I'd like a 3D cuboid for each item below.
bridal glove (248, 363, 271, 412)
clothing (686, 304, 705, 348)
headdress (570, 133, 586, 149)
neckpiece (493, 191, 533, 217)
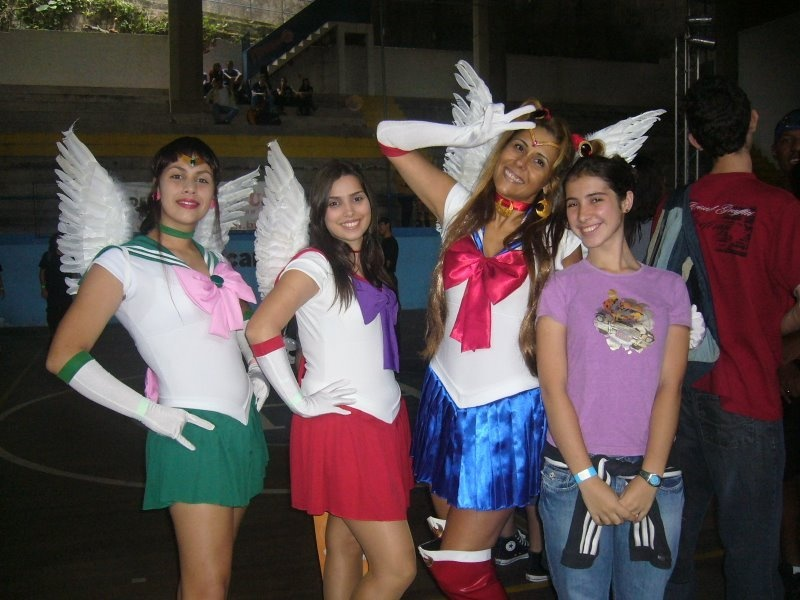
[{"bbox_3d":[-0.721,0.427,3.485,0.074,0.201,0.169,-2,-5,18],"label":"bridal glove"},{"bbox_3d":[1.346,0.130,3.229,0.069,0.155,0.173,-9,-11,25],"label":"clothing"},{"bbox_3d":[0.873,-0.776,3.478,0.069,0.039,0.099,7,50,5],"label":"headdress"},{"bbox_3d":[0.543,-0.454,3.424,0.115,0.067,0.112,-7,46,-19],"label":"neckpiece"}]
